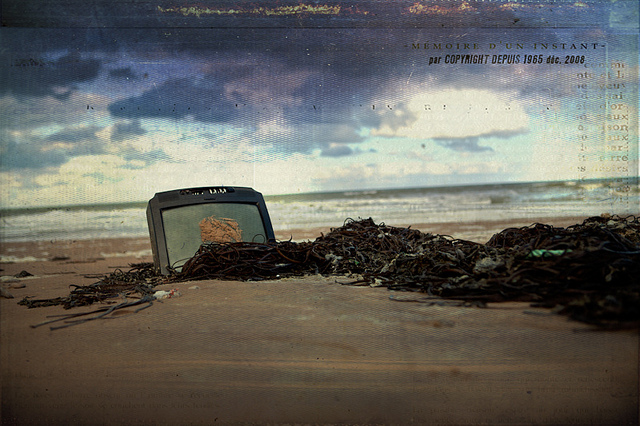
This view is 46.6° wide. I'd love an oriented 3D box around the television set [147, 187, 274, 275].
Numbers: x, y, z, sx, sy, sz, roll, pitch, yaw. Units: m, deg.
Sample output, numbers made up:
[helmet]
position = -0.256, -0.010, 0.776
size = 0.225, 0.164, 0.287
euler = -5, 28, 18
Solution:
[television set]
position = -0.767, 0.127, 5.013
size = 1.014, 0.444, 0.424
euler = -8, -8, -24
